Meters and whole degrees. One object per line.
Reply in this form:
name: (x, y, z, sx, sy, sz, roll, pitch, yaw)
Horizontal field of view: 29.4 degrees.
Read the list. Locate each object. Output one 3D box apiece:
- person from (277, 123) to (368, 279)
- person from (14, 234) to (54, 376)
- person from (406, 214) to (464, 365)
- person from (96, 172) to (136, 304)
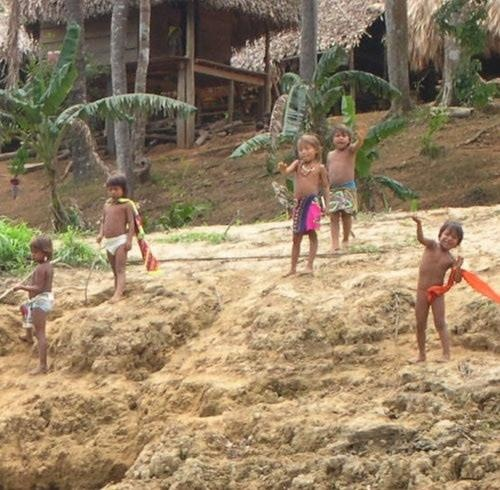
person: (0.862, -0.538, 11.349, 0.703, 1.679, 1.203, 2, 7, 25)
person: (-2.482, 0.627, 11.050, 0.405, 1.524, 0.856, -3, 7, -13)
person: (1.851, 0.422, 9.393, 0.483, 1.450, 0.275, 0, 6, 13)
person: (-1.551, -0.100, 11.196, 0.408, 1.413, 0.378, -2, 6, -11)
